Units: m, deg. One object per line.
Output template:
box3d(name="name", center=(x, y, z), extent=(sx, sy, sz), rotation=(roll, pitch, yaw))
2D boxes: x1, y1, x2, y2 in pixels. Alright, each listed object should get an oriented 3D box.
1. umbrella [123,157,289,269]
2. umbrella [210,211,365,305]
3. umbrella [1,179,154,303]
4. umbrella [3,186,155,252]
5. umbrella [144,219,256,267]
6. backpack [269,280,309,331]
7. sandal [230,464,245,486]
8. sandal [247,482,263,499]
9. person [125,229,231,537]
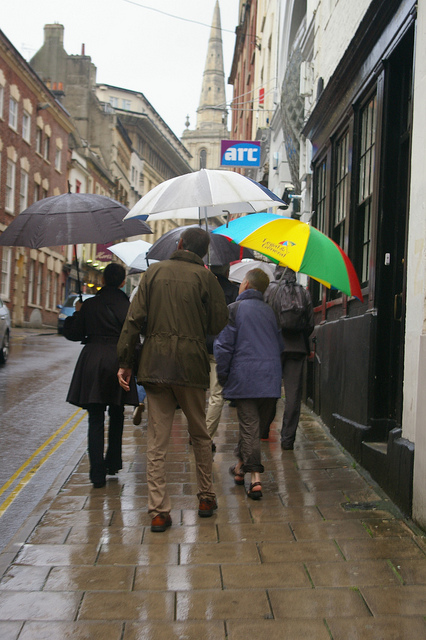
box3d(name="umbrella", center=(0.035, -1.039, 4.818), extent=(1.214, 1.037, 1.211), rotation=(18, 4, -26))
box3d(name="umbrella", center=(0.658, -0.405, 4.550), extent=(0.892, 0.800, 0.908), rotation=(34, 9, 38))
box3d(name="umbrella", center=(-1.205, -0.695, 5.024), extent=(1.002, 1.061, 1.054), rotation=(-6, 9, 34))
box3d(name="umbrella", center=(-1.294, -0.926, 5.081), extent=(1.152, 0.512, 1.221), rotation=(-10, 9, 4))
box3d(name="umbrella", center=(-0.145, -1.111, 7.749), extent=(1.661, 0.846, 1.757), rotation=(5, 3, 3))
box3d(name="backpack", center=(0.909, -0.229, 6.043), extent=(0.418, 0.666, 0.388), rotation=(1, 40, 11))
box3d(name="sandal", center=(0.205, 1.308, 4.454), extent=(0.054, 0.078, 0.178), rotation=(2, 24, -3))
box3d(name="sandal", center=(0.304, 1.256, 3.865), extent=(0.057, 0.076, 0.149), rotation=(2, -2, -6))
box3d(name="person", center=(-0.238, 0.318, 3.437), extent=(0.650, 1.928, 0.440), rotation=(3, -5, -38))
